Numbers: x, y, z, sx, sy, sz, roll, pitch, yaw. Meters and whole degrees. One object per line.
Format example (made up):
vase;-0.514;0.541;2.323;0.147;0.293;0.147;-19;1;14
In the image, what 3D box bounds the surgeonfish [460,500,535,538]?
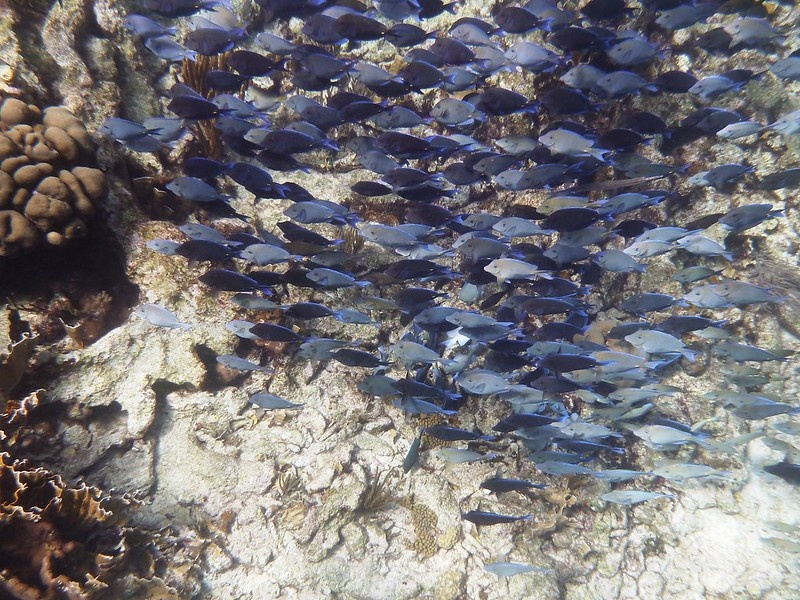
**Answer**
surgeonfish;1.689;3.459;15.756;1.364;0.396;0.494;-3;11;-6
